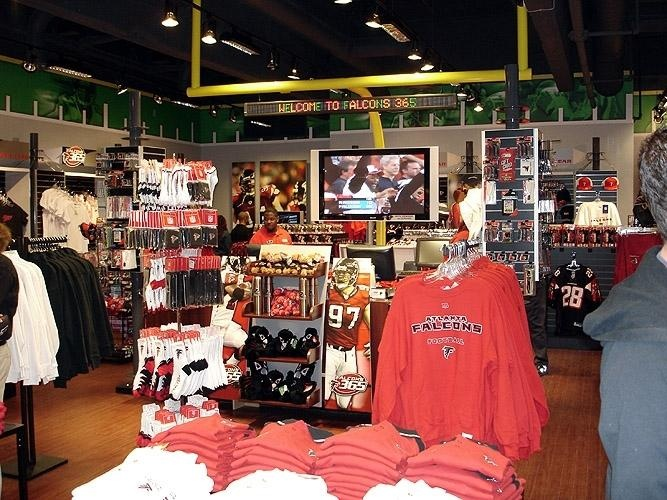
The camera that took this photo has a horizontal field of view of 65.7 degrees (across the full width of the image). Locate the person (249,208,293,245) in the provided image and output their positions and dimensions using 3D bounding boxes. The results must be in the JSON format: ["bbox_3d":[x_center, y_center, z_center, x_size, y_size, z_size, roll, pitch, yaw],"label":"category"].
[{"bbox_3d":[-0.980,-0.382,8.052,0.554,0.529,0.996,-2,4,-1],"label":"person"}]

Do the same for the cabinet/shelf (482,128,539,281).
[{"bbox_3d":[1.981,-0.488,5.868,0.594,1.781,0.152,2,-12,7],"label":"cabinet/shelf"}]

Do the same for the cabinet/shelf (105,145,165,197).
[{"bbox_3d":[-2.836,-1.035,7.262,0.515,0.678,0.705,1,-4,-4],"label":"cabinet/shelf"}]

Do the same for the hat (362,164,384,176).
[{"bbox_3d":[0.550,-1.105,7.122,0.159,0.069,0.120,-21,25,51],"label":"hat"}]

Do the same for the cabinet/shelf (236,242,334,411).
[{"bbox_3d":[-0.534,0.819,5.669,0.946,1.741,0.526,-1,3,14],"label":"cabinet/shelf"}]

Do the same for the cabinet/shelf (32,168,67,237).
[{"bbox_3d":[-6.082,-1.030,11.165,0.575,1.362,0.698,-4,3,-29],"label":"cabinet/shelf"}]

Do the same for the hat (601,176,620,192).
[{"bbox_3d":[6.367,-1.530,11.857,0.238,0.210,0.352,3,25,27],"label":"hat"}]
